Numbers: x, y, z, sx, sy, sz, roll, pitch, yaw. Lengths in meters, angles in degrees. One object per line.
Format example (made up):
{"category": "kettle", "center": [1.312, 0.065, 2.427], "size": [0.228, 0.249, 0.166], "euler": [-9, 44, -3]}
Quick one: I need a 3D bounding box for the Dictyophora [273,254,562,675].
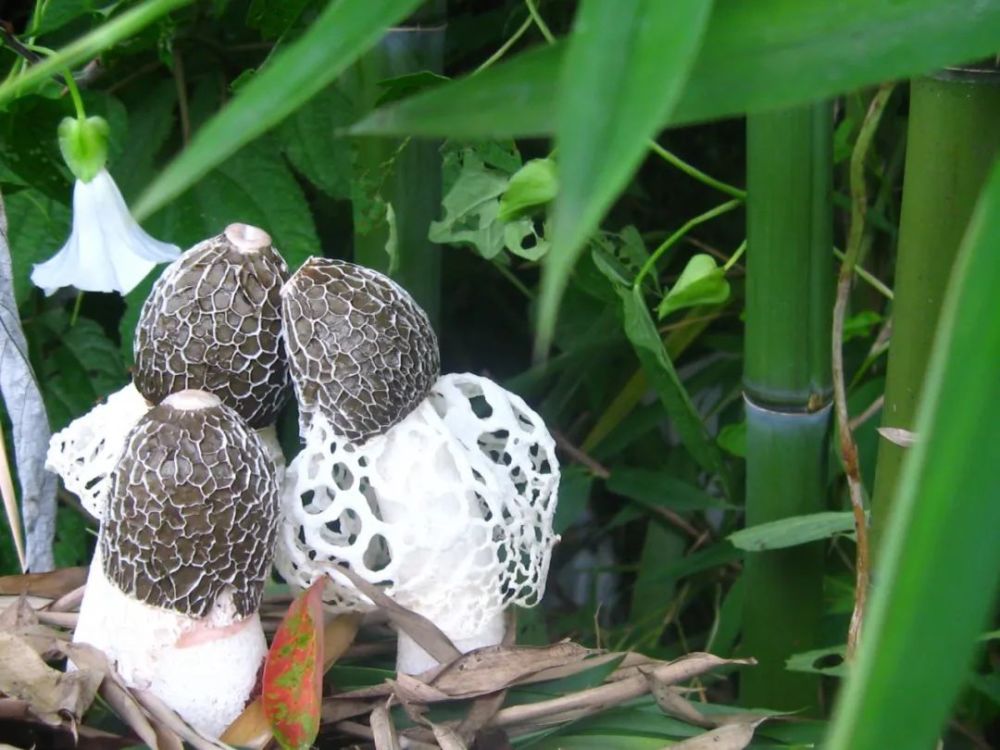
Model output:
{"category": "Dictyophora", "center": [-0.052, 0.020, 0.608], "size": [0.125, 0.207, 0.147], "euler": [9, 16, 33]}

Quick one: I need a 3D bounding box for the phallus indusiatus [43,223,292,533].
{"category": "phallus indusiatus", "center": [-0.156, -0.012, 0.618], "size": [0.125, 0.138, 0.126], "euler": [11, 29, -27]}

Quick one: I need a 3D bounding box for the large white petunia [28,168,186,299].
{"category": "large white petunia", "center": [-0.181, -0.062, 0.547], "size": [0.071, 0.064, 0.051], "euler": [8, 15, 2]}
